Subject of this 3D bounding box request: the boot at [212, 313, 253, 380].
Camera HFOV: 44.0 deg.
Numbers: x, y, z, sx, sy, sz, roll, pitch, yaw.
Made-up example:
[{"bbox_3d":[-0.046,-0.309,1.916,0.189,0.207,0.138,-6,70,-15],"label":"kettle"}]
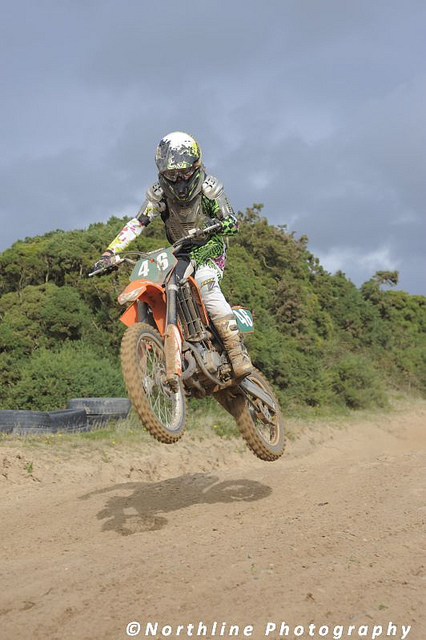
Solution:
[{"bbox_3d":[0.253,0.281,5.339,0.379,0.654,0.434,4,7,33],"label":"boot"}]
